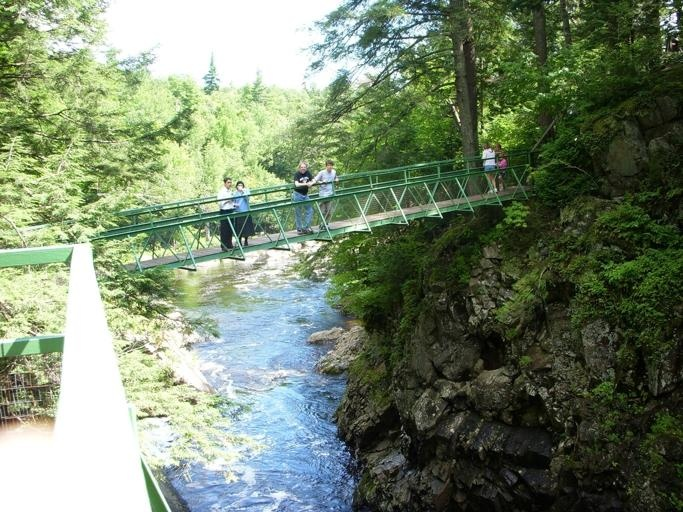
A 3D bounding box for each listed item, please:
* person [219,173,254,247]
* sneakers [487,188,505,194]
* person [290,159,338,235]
[{"bbox_3d":[-2.548,-1.030,13.942,0.819,1.762,1.231,-5,3,-9],"label":"person"},{"bbox_3d":[4.411,-1.875,16.903,0.165,0.208,0.500,-4,1,-43],"label":"sneakers"},{"bbox_3d":[-0.729,-1.537,14.932,1.133,1.928,1.563,-2,4,33],"label":"person"}]
